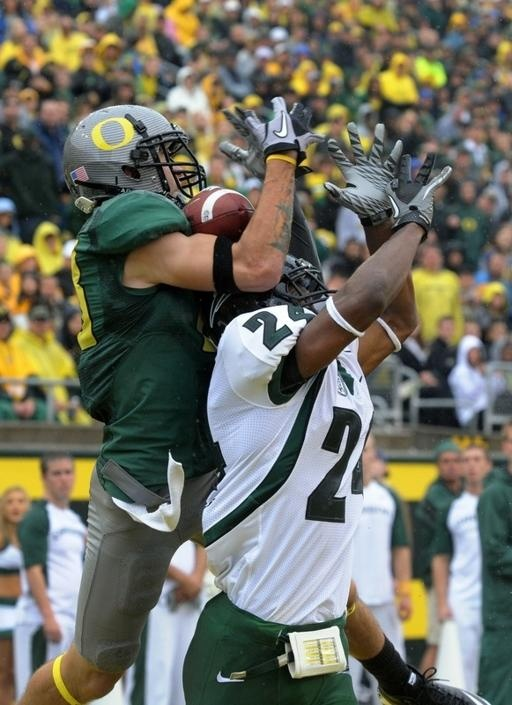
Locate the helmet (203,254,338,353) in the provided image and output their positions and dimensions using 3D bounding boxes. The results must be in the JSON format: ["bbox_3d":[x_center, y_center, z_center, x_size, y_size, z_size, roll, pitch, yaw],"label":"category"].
[{"bbox_3d":[0.040,-0.149,2.800,0.323,0.231,0.242,-37,73,-14],"label":"helmet"}]

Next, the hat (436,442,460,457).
[{"bbox_3d":[0.667,0.332,3.551,0.055,0.061,0.052,2,50,-3],"label":"hat"}]

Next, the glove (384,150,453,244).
[{"bbox_3d":[0.432,-0.402,2.753,0.211,0.096,0.239,6,58,7],"label":"glove"}]

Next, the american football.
[{"bbox_3d":[-0.093,-0.381,2.760,0.186,0.125,0.225,-18,12,-25],"label":"american football"}]

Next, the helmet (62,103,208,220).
[{"bbox_3d":[-0.381,-0.578,3.004,0.454,0.277,0.323,-13,15,-19],"label":"helmet"}]
